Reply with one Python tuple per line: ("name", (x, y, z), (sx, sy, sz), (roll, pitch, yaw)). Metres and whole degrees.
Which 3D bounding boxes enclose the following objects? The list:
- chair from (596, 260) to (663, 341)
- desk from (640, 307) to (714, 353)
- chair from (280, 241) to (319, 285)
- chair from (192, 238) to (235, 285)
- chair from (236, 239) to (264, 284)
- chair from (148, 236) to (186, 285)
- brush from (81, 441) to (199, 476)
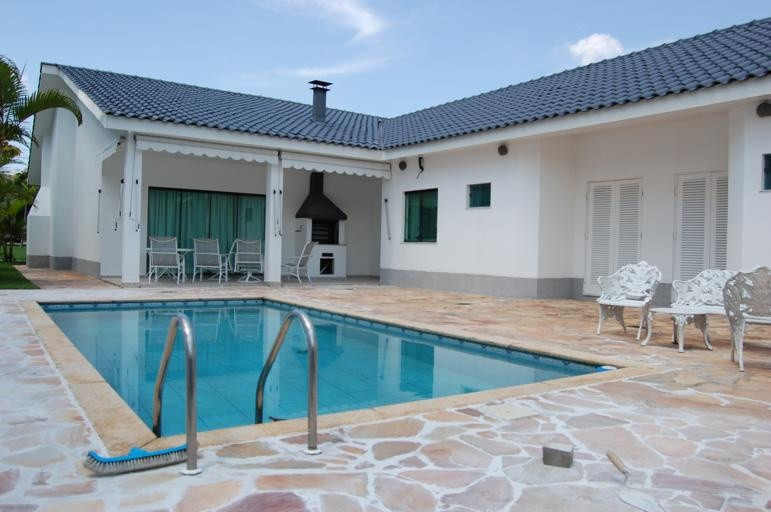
("chair", (3.655, 0.649, 7.413), (0.821, 1.031, 0.875), (2, 3, 36))
("desk", (4.271, 0.976, 7.162), (0.807, 0.623, 2.016), (2, 4, 33))
("chair", (-2.694, 0.212, 15.317), (1.086, 1.220, 3.482), (-1, 3, -10))
("chair", (-5.227, 0.078, 14.899), (1.183, 1.507, 1.224), (-3, 5, -45))
("chair", (-4.437, 0.211, 16.091), (1.021, 1.231, 0.976), (-1, -5, -5))
("chair", (-6.407, 0.119, 14.362), (0.946, 1.237, 2.563), (-2, 4, -26))
("brush", (-1.682, 1.351, 3.328), (0.614, 0.115, 0.249), (-2, 4, -24))
